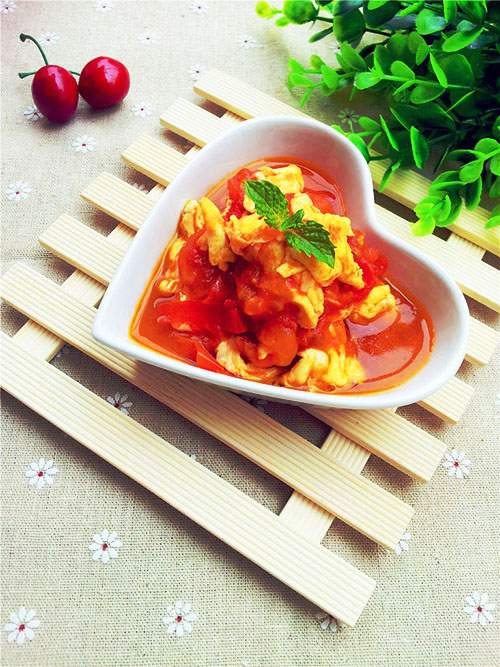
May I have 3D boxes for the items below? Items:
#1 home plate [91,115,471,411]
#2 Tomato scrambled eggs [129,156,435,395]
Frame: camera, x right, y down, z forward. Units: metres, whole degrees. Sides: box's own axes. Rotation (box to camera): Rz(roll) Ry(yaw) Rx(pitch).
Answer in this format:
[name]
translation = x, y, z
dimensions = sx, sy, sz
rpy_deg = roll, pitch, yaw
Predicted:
[home plate]
translation = 0.094, -0.157, 1.710
dimensions = 0.927, 0.521, 0.790
rpy_deg = 2, 46, 2
[Tomato scrambled eggs]
translation = 0.103, -0.074, 1.630
dimensions = 0.692, 0.250, 0.646
rpy_deg = -18, 70, -7
